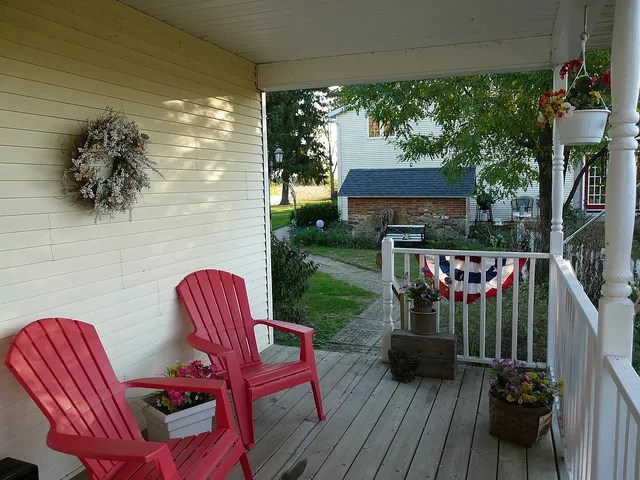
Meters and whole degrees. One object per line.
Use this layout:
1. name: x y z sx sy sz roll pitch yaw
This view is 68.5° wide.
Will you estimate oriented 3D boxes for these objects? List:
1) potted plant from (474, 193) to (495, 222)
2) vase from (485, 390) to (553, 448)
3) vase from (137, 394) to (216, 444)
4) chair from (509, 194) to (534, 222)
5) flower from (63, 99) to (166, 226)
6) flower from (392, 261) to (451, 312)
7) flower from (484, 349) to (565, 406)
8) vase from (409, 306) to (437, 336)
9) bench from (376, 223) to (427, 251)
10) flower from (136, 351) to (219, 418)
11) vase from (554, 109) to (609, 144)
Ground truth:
1. potted plant: 4.916 -0.974 14.104 0.582 0.990 0.965 -1 -11 9
2. vase: 1.451 1.339 3.453 0.369 0.297 0.338 6 7 42
3. vase: -1.013 1.283 3.433 0.331 0.468 0.423 1 3 39
4. chair: 6.346 -1.008 14.839 0.635 0.692 0.842 3 14 25
5. flower: -1.451 -0.566 3.319 0.256 0.773 0.578 0 -9 31
6. flower: 0.980 0.419 4.614 0.443 0.407 0.447 -2 1 -24
7. flower: 1.513 1.073 3.536 0.380 0.202 0.386 -10 14 -27
8. vase: 0.977 0.779 4.528 0.230 0.180 0.238 -1 2 -4
9. bench: 2.424 -0.174 13.906 1.381 0.735 1.135 -1 13 12
10. flower: -0.954 1.064 3.450 0.380 0.106 0.370 -5 10 -44
11. vase: 1.823 -0.790 3.271 0.246 0.161 0.257 1 1 6
